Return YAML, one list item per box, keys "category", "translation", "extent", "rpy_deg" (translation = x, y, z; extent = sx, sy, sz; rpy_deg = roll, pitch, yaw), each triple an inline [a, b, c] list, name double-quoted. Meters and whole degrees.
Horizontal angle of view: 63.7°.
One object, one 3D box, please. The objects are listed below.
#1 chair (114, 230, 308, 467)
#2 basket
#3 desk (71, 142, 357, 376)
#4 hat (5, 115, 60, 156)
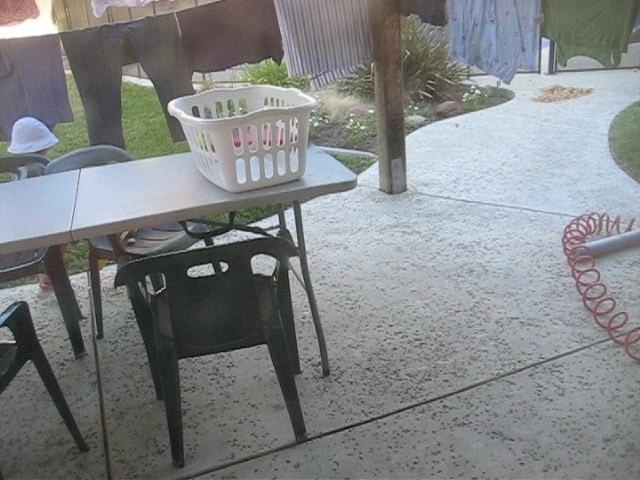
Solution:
- category: "chair"
  translation: [-0.471, 0.412, 2.435]
  extent: [0.803, 1.051, 0.819]
  rpy_deg: [-2, 20, 11]
- category: "basket"
  translation: [-0.346, -0.493, 2.424]
  extent: [0.662, 0.361, 0.644]
  rpy_deg: [-10, 26, -14]
- category: "desk"
  translation: [-0.609, 0.108, 2.829]
  extent: [1.319, 1.019, 1.110]
  rpy_deg: [-15, 37, -17]
- category: "hat"
  translation: [-1.907, -0.687, 3.422]
  extent: [0.322, 0.192, 0.322]
  rpy_deg: [5, 29, 10]
